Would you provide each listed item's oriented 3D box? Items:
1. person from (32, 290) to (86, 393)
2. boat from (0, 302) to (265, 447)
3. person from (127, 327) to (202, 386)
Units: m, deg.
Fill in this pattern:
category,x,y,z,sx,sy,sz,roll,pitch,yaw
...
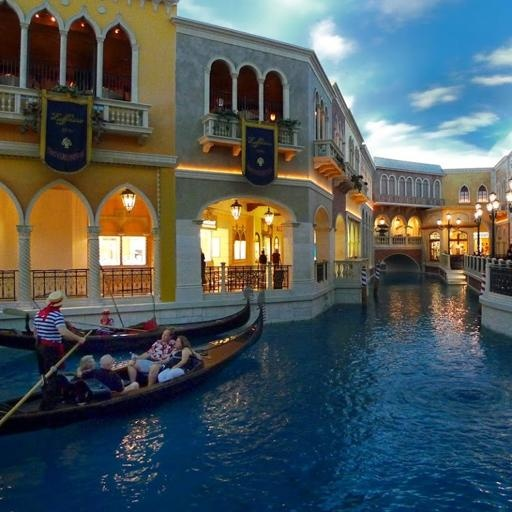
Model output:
category,x,y,z,sx,sy,sz,roll,pitch,yaw
person,-3.121,1.116,7.502,0.667,1.283,2.549,-1,4,-24
boat,-1.505,1.688,8.179,1.084,1.241,5.539,4,6,35
person,-1.515,1.662,8.056,0.622,0.459,1.192,3,3,26
